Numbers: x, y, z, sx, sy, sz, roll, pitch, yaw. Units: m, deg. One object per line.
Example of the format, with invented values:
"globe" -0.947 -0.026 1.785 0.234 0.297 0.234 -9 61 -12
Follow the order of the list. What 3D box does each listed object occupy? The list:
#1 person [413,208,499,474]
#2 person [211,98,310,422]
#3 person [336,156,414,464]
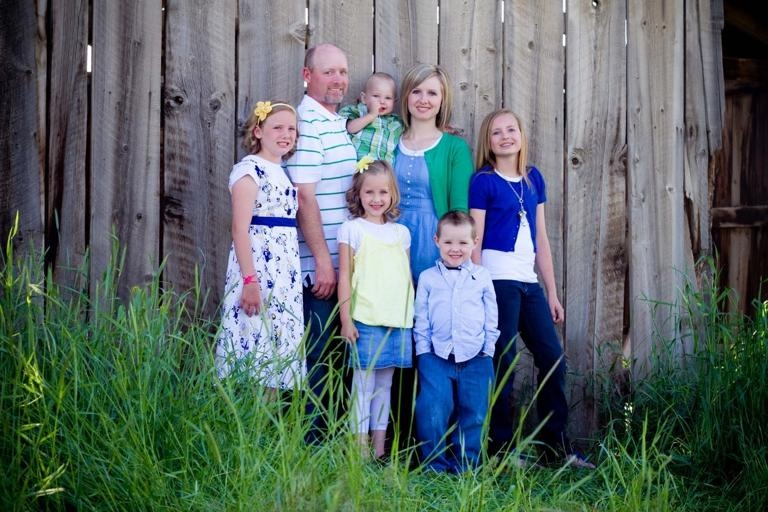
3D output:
"person" 0.380 0.418 3.909 0.443 1.276 0.234 1 1 -3
"person" -0.614 -0.031 3.774 0.450 1.545 0.802 1 1 -7
"person" -0.052 0.277 3.814 0.417 1.586 0.709 1 1 2
